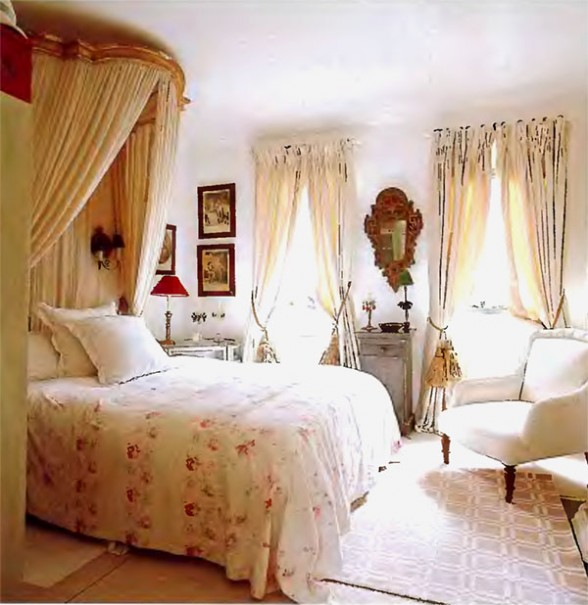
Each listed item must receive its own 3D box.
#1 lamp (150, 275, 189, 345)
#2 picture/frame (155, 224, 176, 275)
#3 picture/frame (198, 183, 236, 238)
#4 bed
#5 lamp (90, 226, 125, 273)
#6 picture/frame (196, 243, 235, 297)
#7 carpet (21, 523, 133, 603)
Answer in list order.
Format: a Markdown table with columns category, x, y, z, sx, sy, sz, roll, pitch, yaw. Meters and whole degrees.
| category | x | y | z | sx | sy | sz | roll | pitch | yaw |
| --- | --- | --- | --- | --- | --- | --- | --- | --- | --- |
| lamp | -1.098 | 0.069 | 4.718 | 0.283 | 0.625 | 0.318 | 1 | -3 | 16 |
| picture/frame | -1.283 | -0.514 | 5.283 | 0.030 | 0.488 | 0.396 | -2 | 8 | -44 |
| picture/frame | -0.762 | -0.922 | 5.378 | 0.440 | 0.654 | 0.026 | 1 | 4 | 23 |
| bed | -0.465 | 0.804 | 2.797 | 1.828 | 0.710 | 1.300 | 1 | 4 | 9 |
| lamp | -1.381 | -0.396 | 3.947 | 0.129 | 0.383 | 0.298 | 1 | 1 | 31 |
| picture/frame | -0.774 | -0.338 | 5.391 | 0.414 | 0.626 | 0.045 | 1 | 3 | 20 |
| carpet | -1.094 | 1.168 | 2.412 | 0.615 | 0.057 | 0.440 | 2 | 4 | 25 |
